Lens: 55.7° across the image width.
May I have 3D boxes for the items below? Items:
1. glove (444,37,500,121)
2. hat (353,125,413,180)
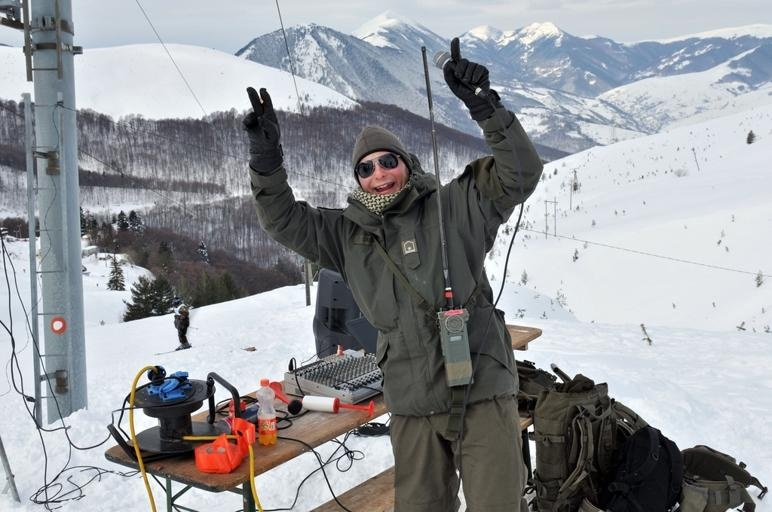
[{"bbox_3d":[1.206,-2.455,10.944,0.689,1.300,0.551,-28,9,-22],"label":"glove"},{"bbox_3d":[-0.076,-1.524,11.284,0.713,0.794,0.828,-21,-38,2],"label":"hat"}]
